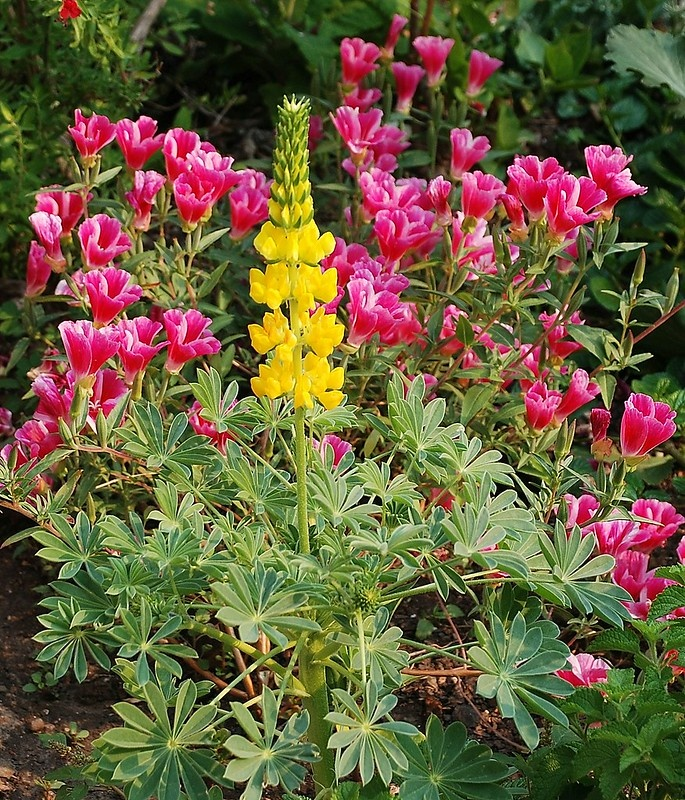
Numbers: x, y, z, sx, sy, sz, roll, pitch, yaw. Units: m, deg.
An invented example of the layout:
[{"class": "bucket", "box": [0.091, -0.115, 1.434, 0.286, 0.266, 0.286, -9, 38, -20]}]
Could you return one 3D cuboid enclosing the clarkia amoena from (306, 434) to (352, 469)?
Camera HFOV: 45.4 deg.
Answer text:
[{"class": "clarkia amoena", "box": [-0.016, 0.096, 1.670, 0.075, 0.033, 0.067, -3, 38, 1]}]
